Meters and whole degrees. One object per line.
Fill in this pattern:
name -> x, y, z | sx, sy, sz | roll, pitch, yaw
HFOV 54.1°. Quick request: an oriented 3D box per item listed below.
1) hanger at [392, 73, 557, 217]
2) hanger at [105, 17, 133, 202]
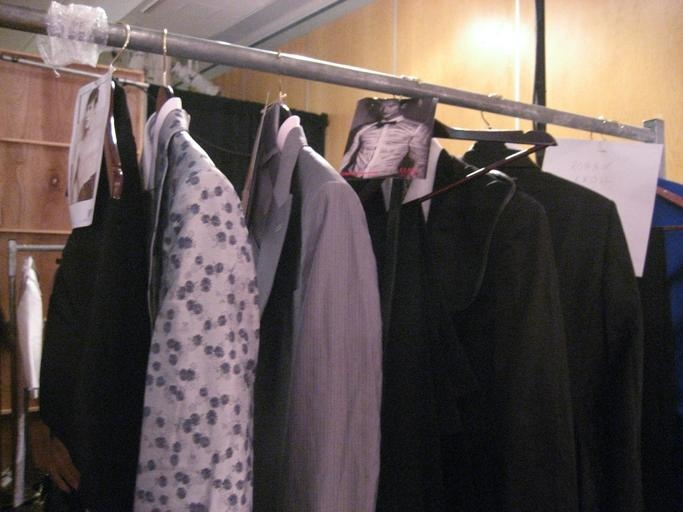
hanger -> 0.262, -0.168, 1.244 | 0.254, 0.163, 0.156 | 2, -2, 6
hanger -> -0.396, -0.265, 1.178 | 0.034, 0.347, 0.218 | 3, -2, -20
